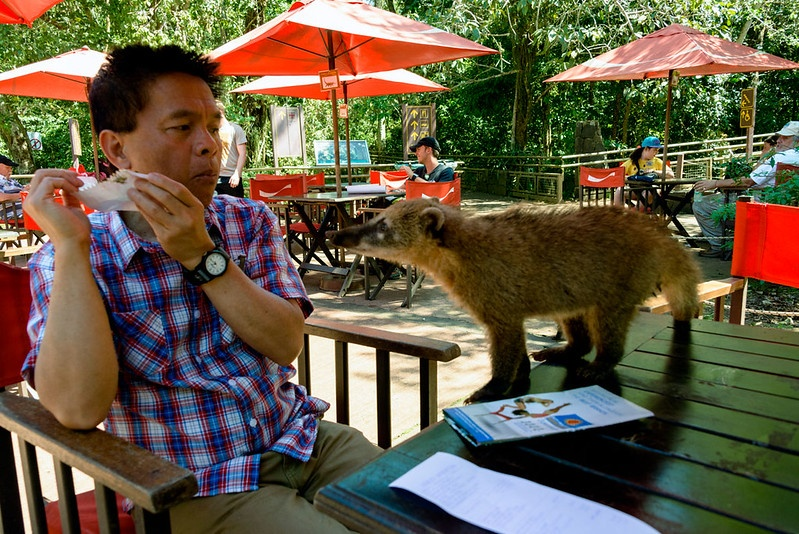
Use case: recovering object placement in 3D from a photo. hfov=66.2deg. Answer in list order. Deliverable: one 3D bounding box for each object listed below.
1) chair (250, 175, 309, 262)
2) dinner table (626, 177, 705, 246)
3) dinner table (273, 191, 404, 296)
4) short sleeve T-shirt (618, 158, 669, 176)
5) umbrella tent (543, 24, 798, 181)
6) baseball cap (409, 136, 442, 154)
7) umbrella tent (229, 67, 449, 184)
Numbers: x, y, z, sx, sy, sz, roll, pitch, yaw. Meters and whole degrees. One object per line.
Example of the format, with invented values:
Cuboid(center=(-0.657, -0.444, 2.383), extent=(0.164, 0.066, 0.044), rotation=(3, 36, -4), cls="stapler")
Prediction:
Cuboid(center=(-1.526, -0.607, 7.741), extent=(0.687, 0.843, 0.638), rotation=(-2, 27, -28), cls="chair")
Cuboid(center=(3.302, -0.740, 7.547), extent=(0.859, 0.647, 1.446), rotation=(-3, 12, 8), cls="dinner table")
Cuboid(center=(-0.911, -0.400, 8.173), extent=(1.567, 1.307, 1.596), rotation=(8, 16, 34), cls="dinner table")
Cuboid(center=(4.403, -1.788, 11.033), extent=(0.860, 0.298, 0.805), rotation=(2, 7, 13), cls="short sleeve T-shirt")
Cuboid(center=(3.786, -2.828, 9.194), extent=(3.048, 1.763, 3.093), rotation=(11, 23, 42), cls="umbrella tent")
Cuboid(center=(0.291, -1.643, 8.278), extent=(0.493, 0.223, 0.312), rotation=(11, 13, 7), cls="baseball cap")
Cuboid(center=(-1.015, -2.372, 9.300), extent=(2.422, 1.324, 2.372), rotation=(3, 11, 13), cls="umbrella tent")
